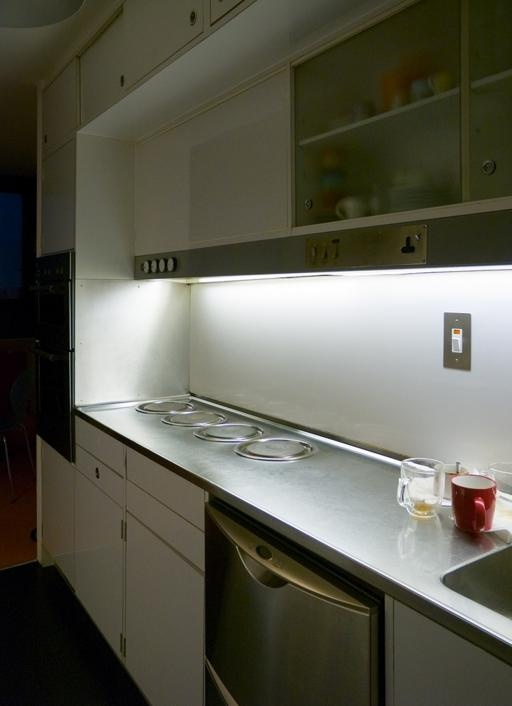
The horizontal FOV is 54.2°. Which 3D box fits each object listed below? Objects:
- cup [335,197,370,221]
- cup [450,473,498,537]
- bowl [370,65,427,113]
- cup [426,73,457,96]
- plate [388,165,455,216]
[{"bbox_3d":[0.227,-0.328,1.169,0.048,0.041,0.052,-3,4,0],"label":"cup"},{"bbox_3d":[0.415,0.295,0.941,0.065,0.088,0.115,-4,4,17],"label":"cup"},{"bbox_3d":[0.295,-0.542,1.040,0.018,0.086,0.075,-7,9,-32],"label":"bowl"},{"bbox_3d":[0.344,-0.499,0.930,0.030,0.045,0.029,-4,-1,0],"label":"cup"},{"bbox_3d":[0.325,-0.325,0.998,0.007,0.092,0.173,-1,2,-27],"label":"plate"}]
